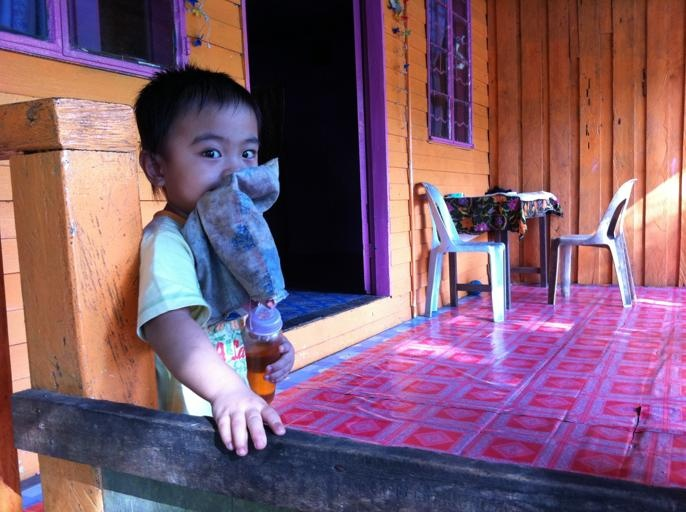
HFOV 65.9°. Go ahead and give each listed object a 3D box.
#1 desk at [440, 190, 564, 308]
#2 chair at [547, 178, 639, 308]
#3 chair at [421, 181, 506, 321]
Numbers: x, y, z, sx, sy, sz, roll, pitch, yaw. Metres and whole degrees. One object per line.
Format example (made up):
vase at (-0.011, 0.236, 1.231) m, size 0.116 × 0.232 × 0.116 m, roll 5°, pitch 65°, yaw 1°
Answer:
desk at (1.641, -0.055, 5.462) m, size 0.896 × 1.093 × 1.469 m, roll 0°, pitch 5°, yaw 36°
chair at (2.398, -0.143, 5.071) m, size 0.710 × 1.093 × 1.158 m, roll 1°, pitch 7°, yaw 29°
chair at (1.048, -0.078, 4.569) m, size 0.727 × 1.150 × 0.727 m, roll 1°, pitch 6°, yaw 24°
